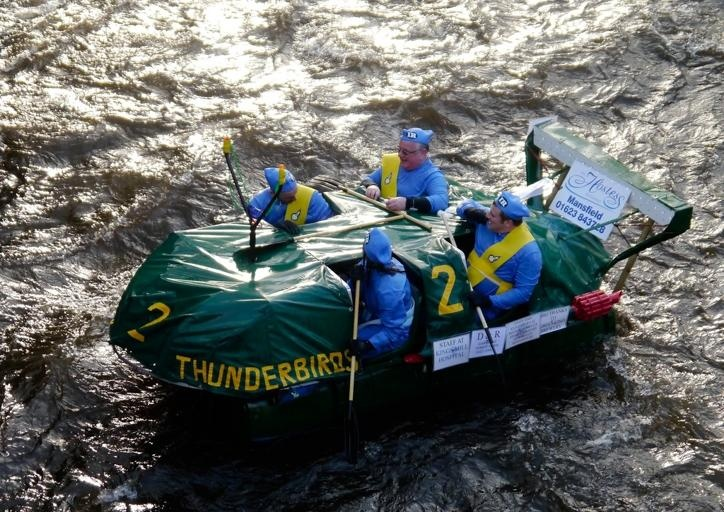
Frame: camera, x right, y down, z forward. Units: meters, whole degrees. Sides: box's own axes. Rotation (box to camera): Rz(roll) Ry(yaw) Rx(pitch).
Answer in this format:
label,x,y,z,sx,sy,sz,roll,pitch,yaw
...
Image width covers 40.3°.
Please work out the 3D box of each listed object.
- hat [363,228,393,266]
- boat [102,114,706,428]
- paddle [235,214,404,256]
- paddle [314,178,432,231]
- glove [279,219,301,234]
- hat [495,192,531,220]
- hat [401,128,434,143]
label,x,y,z,sx,sy,sz,roll,pitch,yaw
hat,0.208,-0.103,12.858,0.379,0.467,0.319,4,33,2
boat,0.587,0.499,13.699,7.400,2.171,3.643,-10,37,-21
paddle,-0.461,-0.319,13.391,2.156,0.081,0.347,-12,32,10
paddle,0.217,-0.728,14.279,2.174,0.204,0.302,20,14,26
glove,-0.967,-0.413,13.486,0.154,0.070,0.271,-17,27,-33
hat,2.040,-0.692,13.522,0.491,0.163,0.323,8,39,-40
hat,0.908,-1.827,14.923,0.560,0.179,0.350,1,20,-23
